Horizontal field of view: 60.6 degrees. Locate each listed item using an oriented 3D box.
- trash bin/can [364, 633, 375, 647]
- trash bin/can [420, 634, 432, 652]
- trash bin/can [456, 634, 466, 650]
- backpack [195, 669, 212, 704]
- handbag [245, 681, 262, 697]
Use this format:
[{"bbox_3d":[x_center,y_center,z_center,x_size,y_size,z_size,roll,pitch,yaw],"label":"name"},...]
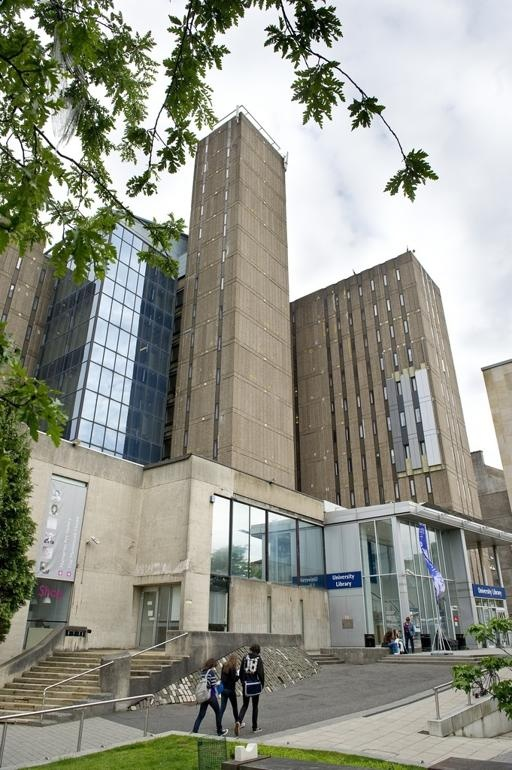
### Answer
[{"bbox_3d":[7.613,16.828,28.960,0.693,0.630,1.712,-7,-26,11],"label":"trash bin/can"},{"bbox_3d":[11.344,17.030,28.974,0.563,1.124,0.616,6,-22,-9],"label":"trash bin/can"},{"bbox_3d":[14.364,17.825,30.506,0.588,0.817,1.438,-11,-26,20],"label":"trash bin/can"},{"bbox_3d":[-1.248,7.354,10.610,0.331,0.615,0.378,1,-24,-6],"label":"backpack"},{"bbox_3d":[-0.063,7.415,10.743,0.419,0.432,0.228,2,-13,-15],"label":"handbag"}]
